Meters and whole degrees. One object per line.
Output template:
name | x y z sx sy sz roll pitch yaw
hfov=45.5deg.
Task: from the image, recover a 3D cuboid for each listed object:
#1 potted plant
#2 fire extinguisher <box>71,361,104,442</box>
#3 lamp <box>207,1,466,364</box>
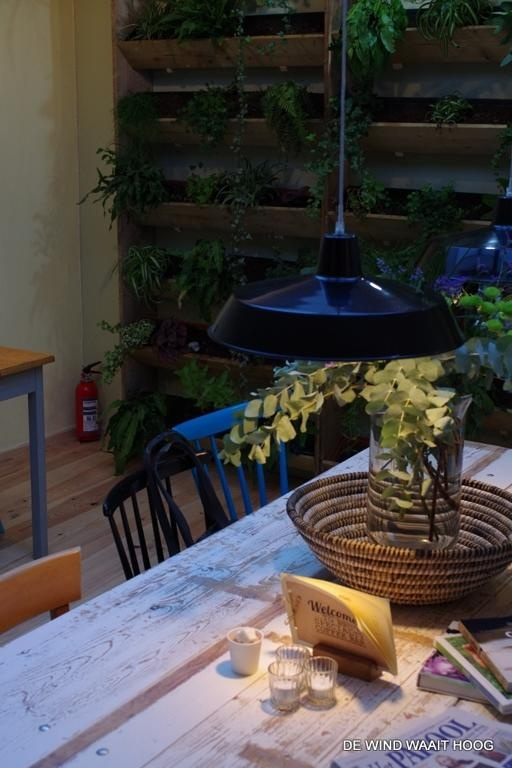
potted plant | 0.205 0.101 1.084 0.440 0.331 0.293 14 21 43
fire extinguisher | -1.182 0.146 4.346 0.177 0.671 0.195 -14 23 -40
lamp | 0.095 -0.103 0.642 0.260 0.133 0.214 -3 10 -16
